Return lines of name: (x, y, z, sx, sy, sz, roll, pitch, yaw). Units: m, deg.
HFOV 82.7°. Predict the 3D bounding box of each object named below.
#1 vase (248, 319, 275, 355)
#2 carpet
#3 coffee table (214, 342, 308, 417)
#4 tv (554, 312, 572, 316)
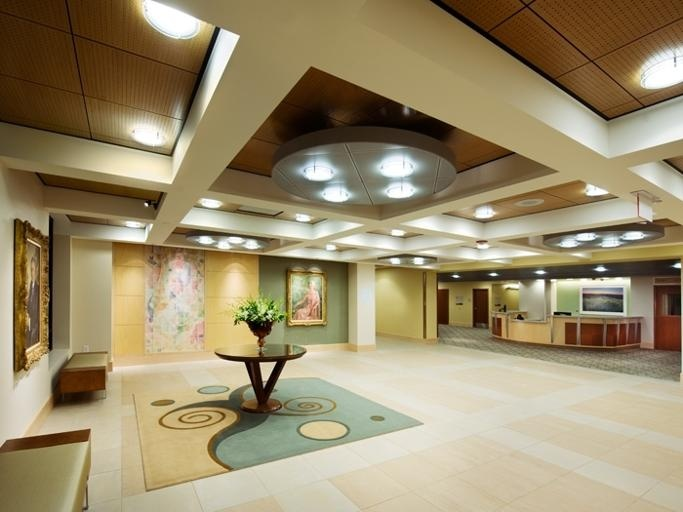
vase: (-1.510, 1.415, 7.008, 0.582, 0.518, 0.521, -4, -4, 9)
carpet: (-1.180, 2.550, 6.178, 3.690, 0.114, 3.123, 3, -4, -28)
coffee table: (-1.371, 1.943, 6.408, 1.332, 0.705, 1.299, -2, -4, 33)
tv: (8.920, 2.351, 15.675, 0.522, 0.095, 0.417, 1, -2, 6)
